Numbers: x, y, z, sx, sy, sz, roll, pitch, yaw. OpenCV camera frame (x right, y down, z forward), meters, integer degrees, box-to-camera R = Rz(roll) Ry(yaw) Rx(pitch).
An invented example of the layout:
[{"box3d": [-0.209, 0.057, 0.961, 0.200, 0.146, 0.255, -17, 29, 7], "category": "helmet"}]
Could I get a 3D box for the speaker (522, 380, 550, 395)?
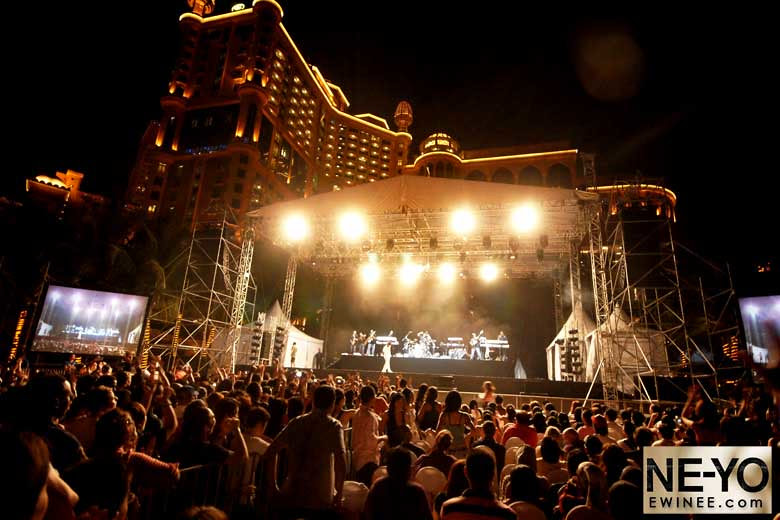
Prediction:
[{"box3d": [5.948, 5.207, 20.700, 0.847, 0.583, 0.609, -11, -23, 35], "category": "speaker"}]
